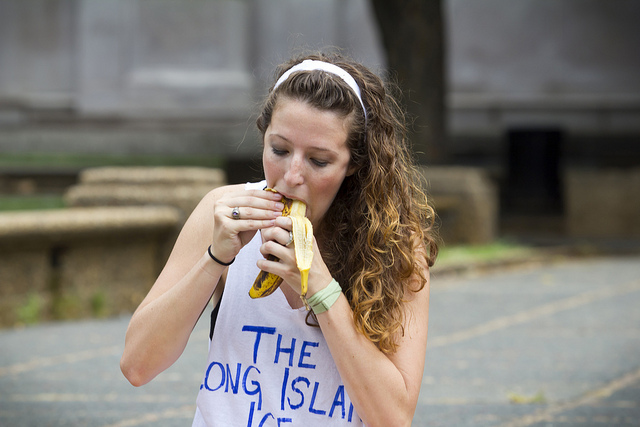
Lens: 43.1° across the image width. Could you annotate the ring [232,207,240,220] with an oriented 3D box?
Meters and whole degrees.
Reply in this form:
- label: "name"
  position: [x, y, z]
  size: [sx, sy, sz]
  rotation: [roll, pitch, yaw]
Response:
- label: "ring"
  position: [-0.593, -0.001, 5.678]
  size: [0.046, 0.074, 0.027]
  rotation: [-1, 3, 24]
